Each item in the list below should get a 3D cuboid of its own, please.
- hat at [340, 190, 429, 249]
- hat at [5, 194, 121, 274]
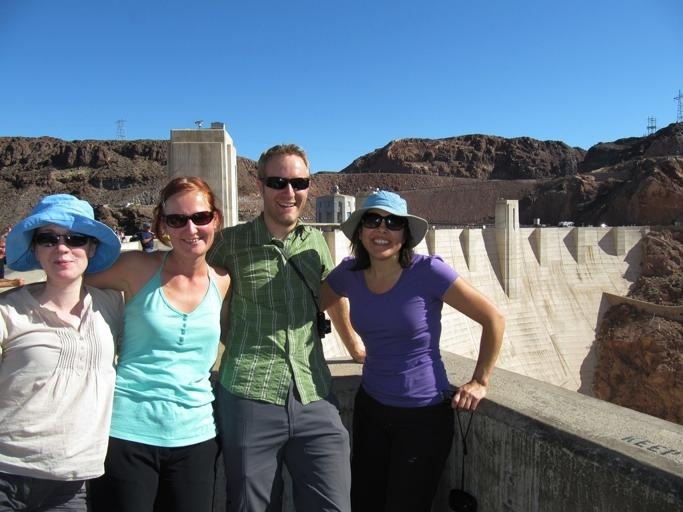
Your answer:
[{"bbox_3d":[0.241,-0.256,3.486,0.413,0.222,0.427,8,-19,-25],"label":"hat"},{"bbox_3d":[-1.394,-0.093,2.996,0.433,0.245,0.431,-20,-33,16],"label":"hat"}]
